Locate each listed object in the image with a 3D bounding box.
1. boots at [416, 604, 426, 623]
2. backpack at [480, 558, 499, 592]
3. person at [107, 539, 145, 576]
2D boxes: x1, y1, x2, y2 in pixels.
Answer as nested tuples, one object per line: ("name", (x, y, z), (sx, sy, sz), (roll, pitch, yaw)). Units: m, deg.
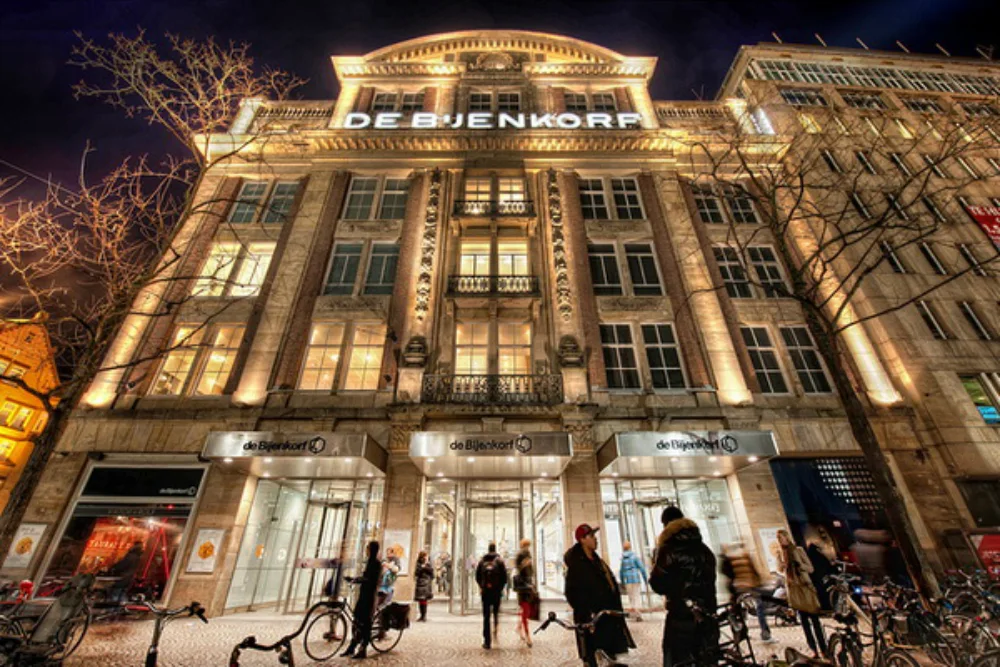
("boots", (-2.619, 9.291, 15.393), (0.330, 0.561, 0.647), (5, -30, -8))
("backpack", (-0.291, 6.866, 13.214), (0.523, 0.854, 0.337), (1, -35, -3))
("person", (-13.233, 7.822, 16.102), (0.775, 1.135, 0.647), (15, -37, -23))
